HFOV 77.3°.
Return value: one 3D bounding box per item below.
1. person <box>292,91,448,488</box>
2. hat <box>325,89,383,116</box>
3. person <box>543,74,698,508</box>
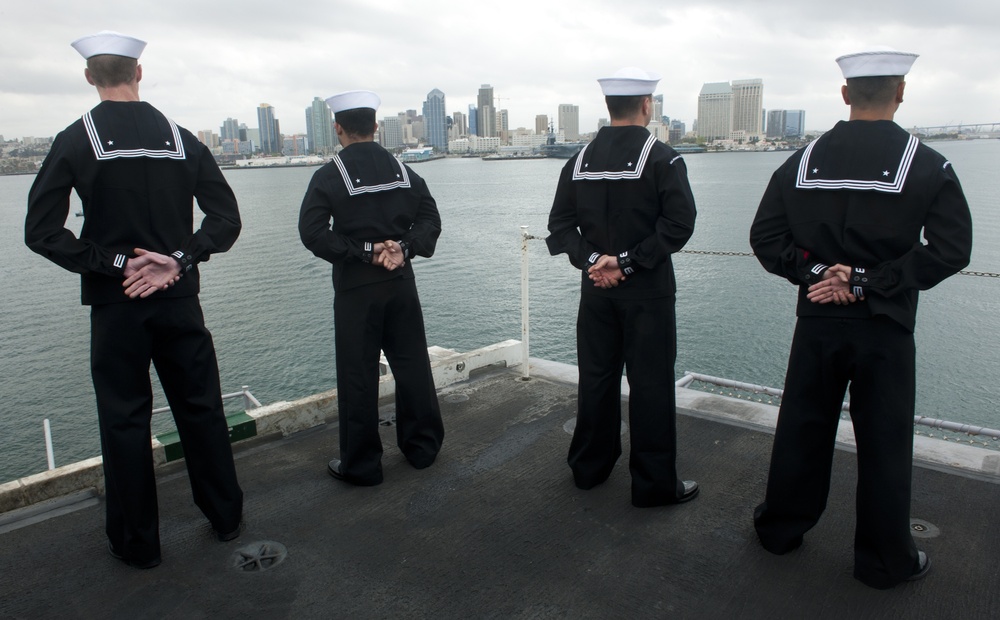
[{"bbox_3d":[-1.120,-0.198,5.616,1.216,3.307,1.297,-3,21,-5],"label":"person"},{"bbox_3d":[-1.289,-1.800,5.466,0.428,0.180,0.357,-5,20,-13],"label":"hat"},{"bbox_3d":[1.072,-0.141,5.213,1.031,3.413,1.322,-6,22,-13],"label":"person"}]
